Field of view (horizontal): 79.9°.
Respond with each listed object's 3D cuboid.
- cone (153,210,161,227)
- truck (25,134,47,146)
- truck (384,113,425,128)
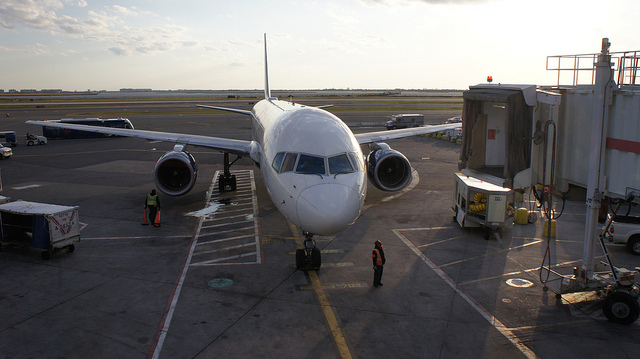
[{"bbox_3d":[-12.246,2.955,28.687,0.565,1.041,0.583,-12,21,-23],"label":"cone"},{"bbox_3d":[-43.243,-6.114,58.381,2.270,0.999,1.452,-6,18,-28],"label":"truck"},{"bbox_3d":[16.211,-11.114,72.379,7.125,2.355,4.425,-1,7,-4],"label":"truck"}]
